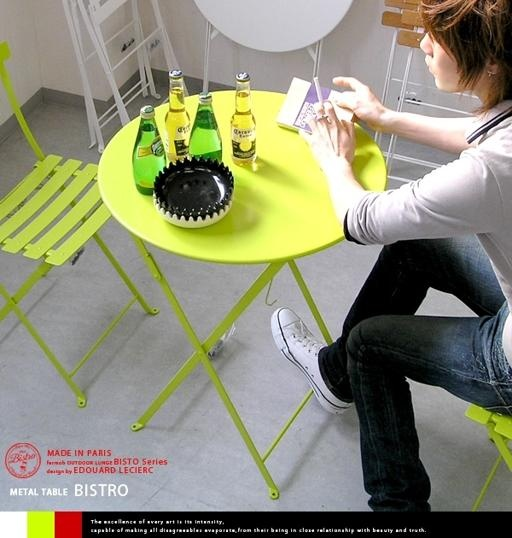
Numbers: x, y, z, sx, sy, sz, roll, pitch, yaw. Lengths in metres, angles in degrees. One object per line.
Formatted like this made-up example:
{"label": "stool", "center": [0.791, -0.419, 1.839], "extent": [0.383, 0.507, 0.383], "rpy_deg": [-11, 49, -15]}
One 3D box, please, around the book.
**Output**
{"label": "book", "center": [0.147, -0.434, 1.400], "extent": [0.163, 0.043, 0.193], "rpy_deg": [11, 58, 10]}

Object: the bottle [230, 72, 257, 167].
{"label": "bottle", "center": [-0.028, -0.369, 1.212], "extent": [0.065, 0.212, 0.119], "rpy_deg": [2, 48, -3]}

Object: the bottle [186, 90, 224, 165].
{"label": "bottle", "center": [-0.122, -0.328, 1.186], "extent": [0.081, 0.169, 0.062], "rpy_deg": [-1, 48, -5]}

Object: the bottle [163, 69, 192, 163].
{"label": "bottle", "center": [-0.189, -0.373, 1.173], "extent": [0.060, 0.213, 0.228], "rpy_deg": [-4, 50, -8]}
